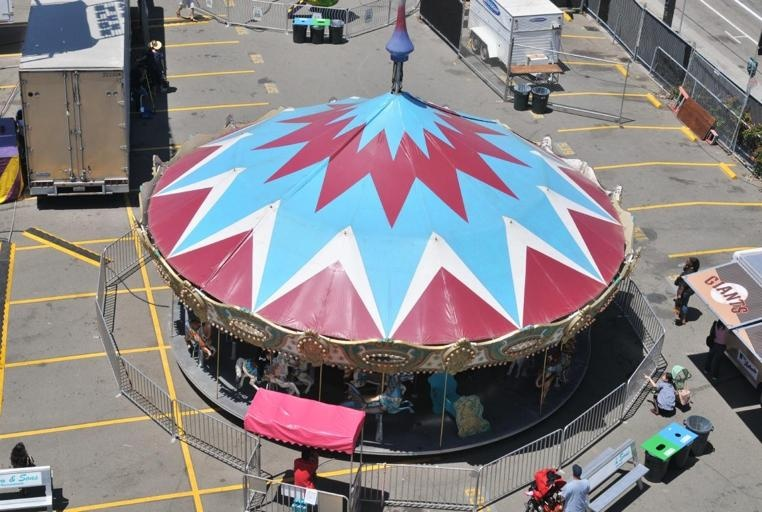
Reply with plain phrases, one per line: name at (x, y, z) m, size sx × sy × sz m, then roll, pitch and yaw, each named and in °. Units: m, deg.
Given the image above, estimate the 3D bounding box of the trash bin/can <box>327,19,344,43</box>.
trash bin/can at (-2.274, -11.767, 59.215) m, size 1.125 × 1.267 × 1.027 m, roll -1°, pitch 35°, yaw -3°

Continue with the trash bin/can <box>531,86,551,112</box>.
trash bin/can at (7.494, -7.454, 53.961) m, size 1.060 × 1.081 × 1.069 m, roll 6°, pitch 41°, yaw 7°

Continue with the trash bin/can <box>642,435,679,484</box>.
trash bin/can at (9.366, 6.800, 38.214) m, size 1.012 × 1.007 × 0.895 m, roll -26°, pitch 38°, yaw -32°

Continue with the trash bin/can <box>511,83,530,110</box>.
trash bin/can at (6.646, -7.700, 54.135) m, size 1.082 × 1.116 × 1.116 m, roll 1°, pitch 44°, yaw 3°

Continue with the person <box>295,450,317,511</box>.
person at (-2.401, 7.159, 37.081) m, size 0.798 × 1.243 × 1.620 m, roll -1°, pitch 33°, yaw -4°

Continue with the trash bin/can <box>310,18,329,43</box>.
trash bin/can at (-3.236, -11.749, 59.043) m, size 0.926 × 1.209 × 1.222 m, roll 1°, pitch 31°, yaw -2°

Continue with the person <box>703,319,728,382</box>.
person at (12.057, 3.249, 41.104) m, size 0.682 × 2.146 × 1.078 m, roll 11°, pitch 34°, yaw 16°

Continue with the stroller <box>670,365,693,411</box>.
stroller at (10.596, 4.700, 40.372) m, size 0.748 × 1.165 × 1.223 m, roll -6°, pitch 14°, yaw -1°

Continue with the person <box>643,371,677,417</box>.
person at (9.825, 4.906, 40.286) m, size 0.709 × 1.428 × 1.013 m, roll -24°, pitch 41°, yaw -25°

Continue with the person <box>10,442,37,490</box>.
person at (-11.547, 6.469, 36.995) m, size 0.846 × 0.866 × 0.851 m, roll 2°, pitch 11°, yaw -1°

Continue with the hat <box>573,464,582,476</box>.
hat at (6.236, 6.777, 36.376) m, size 0.310 × 0.400 × 0.403 m, roll 3°, pitch 53°, yaw 4°
